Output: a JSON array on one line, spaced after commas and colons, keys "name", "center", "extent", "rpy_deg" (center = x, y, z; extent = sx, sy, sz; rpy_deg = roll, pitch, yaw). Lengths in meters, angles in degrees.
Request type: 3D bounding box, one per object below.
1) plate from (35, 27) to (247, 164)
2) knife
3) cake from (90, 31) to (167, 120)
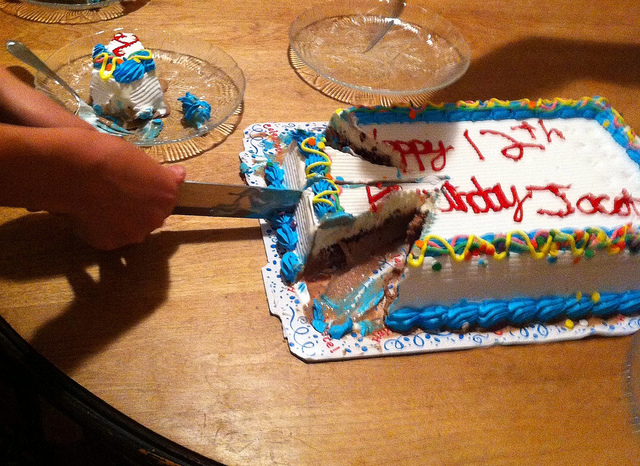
[{"name": "plate", "center": [-0.722, -0.667, 2.825], "extent": [0.719, 0.093, 0.713], "rpy_deg": [20, 41, -7]}, {"name": "knife", "center": [-0.317, -0.123, 2.474], "extent": [0.639, 0.169, 0.043], "rpy_deg": [4, 33, -21]}, {"name": "cake", "center": [-0.799, -0.649, 2.783], "extent": [0.338, 0.321, 0.306], "rpy_deg": [-18, 45, -32]}]
